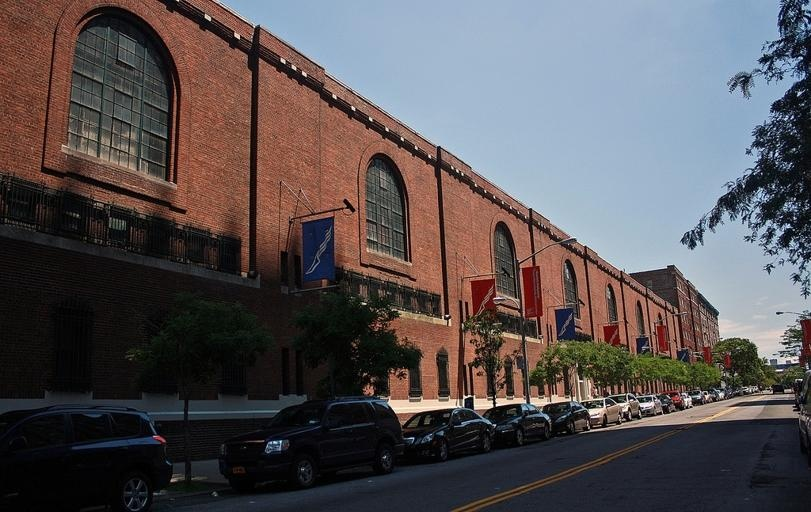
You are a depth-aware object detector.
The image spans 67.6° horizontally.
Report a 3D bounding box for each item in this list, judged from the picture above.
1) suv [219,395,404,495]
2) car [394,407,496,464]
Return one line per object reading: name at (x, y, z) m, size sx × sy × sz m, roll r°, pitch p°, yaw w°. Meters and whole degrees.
suv at (-2.919, 6.142, 20.169) m, size 5.614 × 2.841 × 1.603 m, roll 11°, pitch -24°, yaw -39°
car at (1.587, 7.495, 25.488) m, size 4.654 × 2.115 × 1.448 m, roll 14°, pitch -27°, yaw -43°
